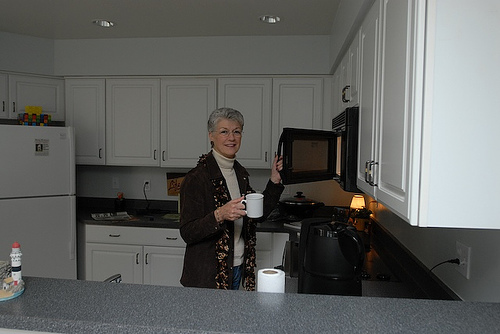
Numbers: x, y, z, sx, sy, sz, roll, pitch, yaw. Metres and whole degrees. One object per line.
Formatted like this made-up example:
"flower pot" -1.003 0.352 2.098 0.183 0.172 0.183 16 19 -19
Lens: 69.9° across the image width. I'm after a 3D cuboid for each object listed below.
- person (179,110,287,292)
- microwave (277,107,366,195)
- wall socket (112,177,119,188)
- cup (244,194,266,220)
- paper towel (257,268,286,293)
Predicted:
"person" -0.116 0.223 2.184 0.628 1.090 0.587 3 15 11
"microwave" 0.449 -0.076 2.232 0.555 0.396 0.346 -1 1 0
"wall socket" -1.521 0.188 4.044 0.078 0.134 0.027 3 15 8
"cup" 0.025 0.207 1.919 0.135 0.120 0.087 -1 5 3
"paper towel" 0.097 0.500 1.605 0.118 0.090 0.137 2 15 7
